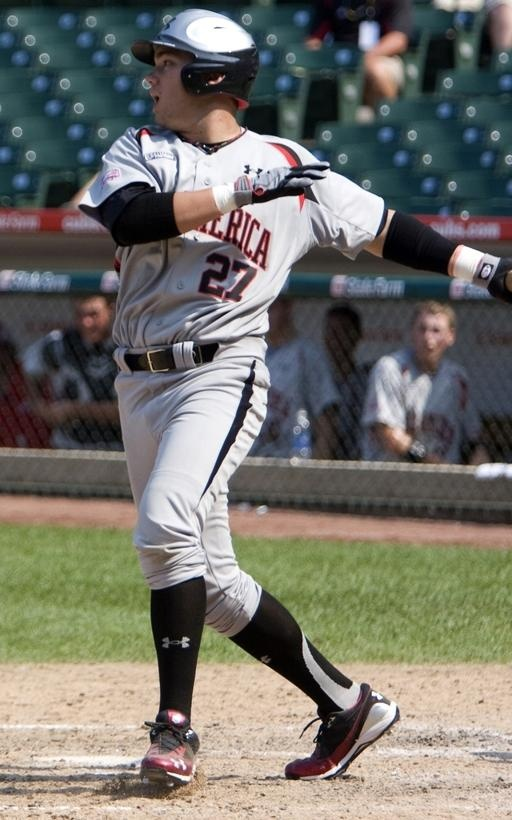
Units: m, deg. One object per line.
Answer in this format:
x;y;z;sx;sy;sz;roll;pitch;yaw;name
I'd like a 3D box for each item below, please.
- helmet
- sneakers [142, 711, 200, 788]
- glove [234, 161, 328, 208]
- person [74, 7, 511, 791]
-0.110;-0.665;1.711;0.235;0.162;0.157;-3;15;-28;helmet
-0.136;0.548;1.485;0.085;0.106;0.229;3;-11;4;sneakers
0.045;-0.373;1.482;0.119;0.032;0.079;-13;23;-4;glove
0.017;-0.054;1.620;0.694;1.421;0.434;3;-8;-10;person
